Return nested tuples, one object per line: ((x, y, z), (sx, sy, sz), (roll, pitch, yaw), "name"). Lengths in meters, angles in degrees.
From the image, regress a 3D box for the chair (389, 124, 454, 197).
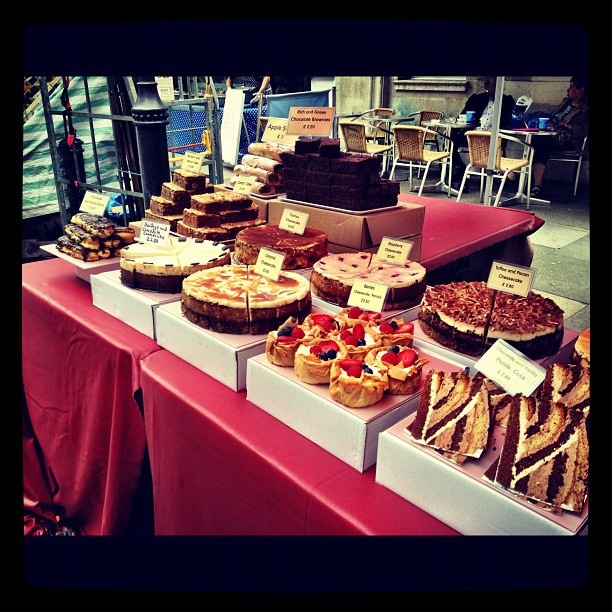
((1.567, -1.981, 7.046), (0.849, 0.999, 0.862), (0, 23, 7), "chair")

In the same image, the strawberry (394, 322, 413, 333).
((0.288, 0.058, 1.488), (0.038, 0.021, 0.030), (-11, 19, -23), "strawberry")

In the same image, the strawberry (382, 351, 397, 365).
((0.213, 0.129, 1.301), (0.032, 0.029, 0.026), (-4, 10, -3), "strawberry")

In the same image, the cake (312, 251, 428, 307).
((0.234, -0.112, 1.829), (0.244, 0.068, 0.252), (15, 26, 22), "cake")

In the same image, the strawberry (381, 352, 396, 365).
((0.210, 0.132, 1.300), (0.032, 0.028, 0.026), (-3, 10, -4), "strawberry")

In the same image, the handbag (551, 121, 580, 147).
((3.301, -2.138, 6.549), (0.304, 0.300, 0.649), (13, 25, 27), "handbag")

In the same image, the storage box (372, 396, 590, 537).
((0.333, 0.310, 0.993), (0.211, 0.082, 0.234), (28, 27, 36), "storage box")

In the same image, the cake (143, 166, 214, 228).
((-0.672, -0.607, 2.817), (0.332, 0.307, 0.332), (-19, 33, -32), "cake")

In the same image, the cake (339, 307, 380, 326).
((0.150, 0.031, 1.552), (0.067, 0.031, 0.083), (-7, 10, -32), "cake")

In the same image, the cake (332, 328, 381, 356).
((0.143, 0.096, 1.399), (0.076, 0.037, 0.091), (1, 18, 1), "cake")

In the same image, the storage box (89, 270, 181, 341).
((-0.649, -0.016, 1.921), (0.246, 0.114, 0.338), (-20, 37, -39), "storage box")

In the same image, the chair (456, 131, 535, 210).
((2.458, -1.756, 6.479), (0.922, 1.115, 0.905), (-11, 23, 7), "chair")

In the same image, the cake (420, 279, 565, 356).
((0.514, 0.037, 1.474), (0.255, 0.079, 0.262), (16, 27, 29), "cake")

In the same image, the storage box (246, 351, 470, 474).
((0.058, 0.159, 1.254), (0.313, 0.105, 0.347), (26, 34, 34), "storage box")

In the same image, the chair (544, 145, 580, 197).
((3.666, -1.932, 7.312), (0.458, 0.443, 0.373), (25, 49, 36), "chair")

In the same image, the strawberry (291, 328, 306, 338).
((-0.018, 0.069, 1.435), (0.025, 0.025, 0.026), (-4, 28, -11), "strawberry")

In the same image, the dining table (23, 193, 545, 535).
((-0.162, 0.175, 1.597), (1.066, 0.498, 1.096), (16, 35, 26), "dining table")

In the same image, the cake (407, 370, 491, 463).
((0.313, 0.204, 1.122), (0.169, 0.283, 0.067), (2, 44, 3), "cake")

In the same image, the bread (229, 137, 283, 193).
((-0.262, -0.789, 2.899), (0.327, 0.124, 0.325), (-32, 36, -17), "bread")

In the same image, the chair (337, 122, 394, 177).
((0.821, -1.990, 6.860), (0.679, 0.946, 0.656), (-18, 28, -28), "chair")

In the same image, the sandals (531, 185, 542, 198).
((3.124, -1.532, 6.939), (0.074, 0.114, 0.252), (2, 12, 16), "sandals")

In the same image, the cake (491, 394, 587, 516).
((0.458, 0.271, 0.984), (0.136, 0.055, 0.182), (2, 39, 29), "cake")

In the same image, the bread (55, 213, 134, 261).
((-0.963, -0.306, 2.326), (0.250, 0.086, 0.255), (8, 15, 38), "bread")

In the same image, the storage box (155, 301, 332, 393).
((-0.305, 0.122, 1.551), (0.257, 0.095, 0.279), (-9, 25, -35), "storage box")

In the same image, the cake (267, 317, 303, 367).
((-0.051, 0.088, 1.426), (0.121, 0.063, 0.169), (2, 25, 17), "cake")

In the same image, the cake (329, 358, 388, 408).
((0.132, 0.198, 1.236), (0.114, 0.064, 0.133), (-6, -2, 15), "cake")
